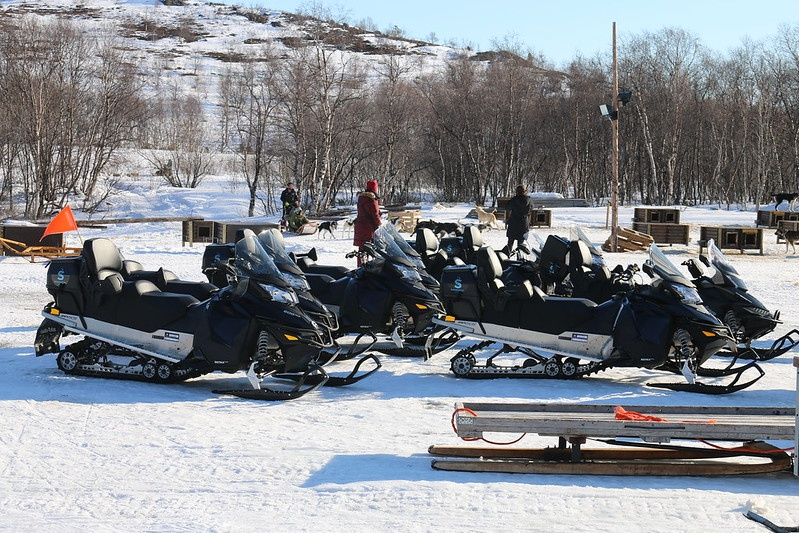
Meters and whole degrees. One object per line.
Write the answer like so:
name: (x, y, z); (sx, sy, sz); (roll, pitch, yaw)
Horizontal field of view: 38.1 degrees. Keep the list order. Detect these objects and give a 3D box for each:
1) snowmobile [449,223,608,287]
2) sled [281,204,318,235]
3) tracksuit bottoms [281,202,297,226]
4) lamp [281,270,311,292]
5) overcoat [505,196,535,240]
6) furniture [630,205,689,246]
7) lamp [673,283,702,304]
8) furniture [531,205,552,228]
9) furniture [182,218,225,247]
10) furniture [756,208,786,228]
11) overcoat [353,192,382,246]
snowmobile: (4.161, -0.198, 34.557); (3.863, 1.825, 1.635); (2, 5, 2)
sled: (-4.555, -2.027, 53.818); (0.947, 0.960, 2.262); (-1, 1, -22)
tracksuit bottoms: (-5.018, -2.509, 53.540); (0.483, 1.078, 0.872); (17, -2, -13)
lamp: (-2.794, 0.418, 32.009); (0.650, 0.220, 0.444); (27, 8, -2)
overcoat: (4.251, -1.783, 41.260); (1.043, 1.471, 0.622); (6, 12, -5)
furniture: (11.558, -1.829, 50.531); (2.050, 1.499, 1.934); (-1, 4, -18)
lamp: (7.881, 0.741, 31.718); (0.856, 0.522, 0.194); (1, 4, -9)
furniture: (7.119, -2.478, 57.118); (1.326, 1.063, 1.308); (-1, -1, 30)
furniture: (-8.229, -1.472, 48.806); (1.219, 0.898, 1.487); (0, -1, -16)
furniture: (19.336, -2.521, 60.440); (1.487, 0.621, 1.076); (-3, 6, -26)
overcoat: (-0.984, -1.325, 37.403); (0.716, 2.040, 1.040); (7, -5, -31)
